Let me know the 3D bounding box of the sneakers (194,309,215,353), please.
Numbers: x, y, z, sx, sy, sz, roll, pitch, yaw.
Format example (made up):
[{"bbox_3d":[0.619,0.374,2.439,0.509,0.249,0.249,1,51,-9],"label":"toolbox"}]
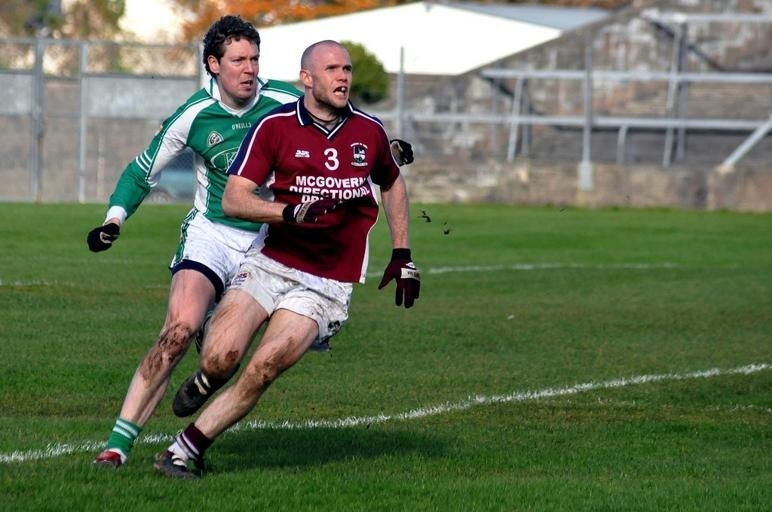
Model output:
[{"bbox_3d":[-1.515,0.635,14.326,0.134,0.374,0.267,5,-3,0],"label":"sneakers"}]

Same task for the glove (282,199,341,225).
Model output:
[{"bbox_3d":[-0.612,-0.361,14.026,0.463,0.211,0.285,-3,-11,-3],"label":"glove"}]

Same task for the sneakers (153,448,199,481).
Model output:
[{"bbox_3d":[-1.718,1.750,14.077,0.331,0.132,0.241,16,27,3],"label":"sneakers"}]

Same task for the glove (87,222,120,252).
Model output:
[{"bbox_3d":[-2.408,-0.153,14.600,0.296,0.199,0.132,-29,-2,-9],"label":"glove"}]

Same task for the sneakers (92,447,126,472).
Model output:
[{"bbox_3d":[-2.308,1.711,14.131,0.236,0.123,0.090,-2,-34,-6],"label":"sneakers"}]
